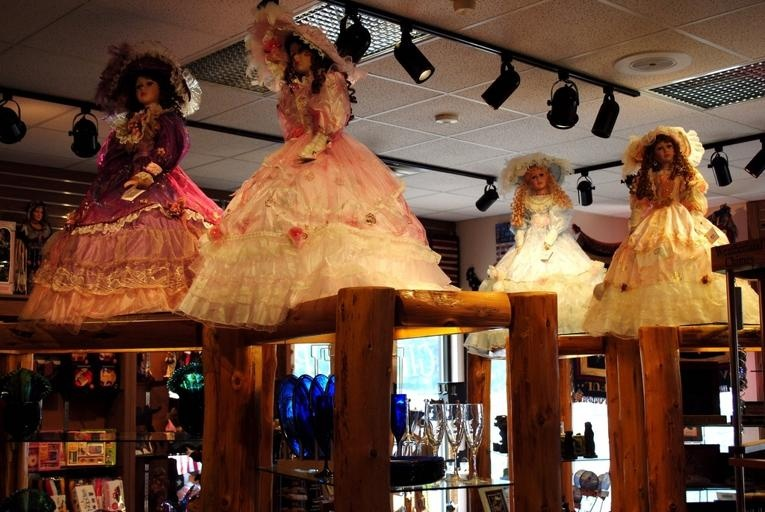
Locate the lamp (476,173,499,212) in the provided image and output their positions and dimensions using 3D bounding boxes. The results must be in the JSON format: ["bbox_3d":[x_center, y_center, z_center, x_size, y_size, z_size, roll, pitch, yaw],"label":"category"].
[{"bbox_3d":[1.164,-0.690,7.446,0.204,0.361,0.406,-3,-11,13],"label":"lamp"}]
